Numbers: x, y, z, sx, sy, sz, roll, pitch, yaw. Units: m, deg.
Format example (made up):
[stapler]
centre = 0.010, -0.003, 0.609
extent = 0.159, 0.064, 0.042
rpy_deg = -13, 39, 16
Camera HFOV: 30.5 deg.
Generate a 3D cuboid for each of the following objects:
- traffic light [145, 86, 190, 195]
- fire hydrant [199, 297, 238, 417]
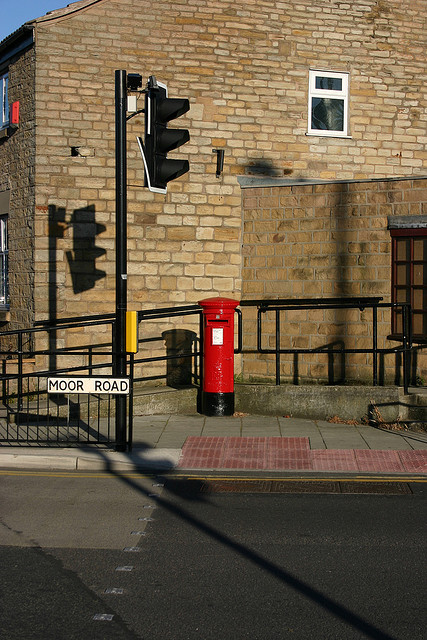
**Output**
[traffic light]
centre = -0.471, -1.827, 7.892
extent = 0.413, 1.080, 0.377
rpy_deg = 0, 2, -3
[fire hydrant]
centre = 0.056, 0.509, 10.497
extent = 0.504, 1.595, 0.359
rpy_deg = 0, 2, 0
